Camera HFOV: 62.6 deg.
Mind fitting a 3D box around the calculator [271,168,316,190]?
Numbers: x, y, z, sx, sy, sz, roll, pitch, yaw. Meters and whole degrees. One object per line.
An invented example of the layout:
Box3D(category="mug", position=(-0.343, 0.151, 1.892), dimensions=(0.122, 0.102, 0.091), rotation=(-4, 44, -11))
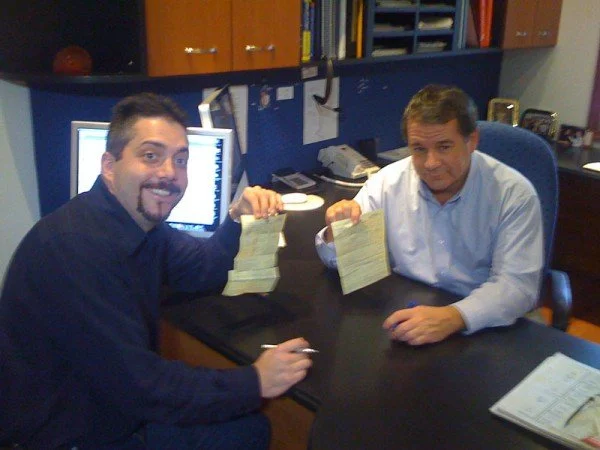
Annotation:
Box3D(category="calculator", position=(-0.031, -0.256, 2.775), dimensions=(0.186, 0.083, 0.146), rotation=(24, 24, 29))

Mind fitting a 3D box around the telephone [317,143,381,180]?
Box3D(category="telephone", position=(0.264, -0.359, 2.927), dimensions=(0.213, 0.106, 0.295), rotation=(-25, 44, -38))
